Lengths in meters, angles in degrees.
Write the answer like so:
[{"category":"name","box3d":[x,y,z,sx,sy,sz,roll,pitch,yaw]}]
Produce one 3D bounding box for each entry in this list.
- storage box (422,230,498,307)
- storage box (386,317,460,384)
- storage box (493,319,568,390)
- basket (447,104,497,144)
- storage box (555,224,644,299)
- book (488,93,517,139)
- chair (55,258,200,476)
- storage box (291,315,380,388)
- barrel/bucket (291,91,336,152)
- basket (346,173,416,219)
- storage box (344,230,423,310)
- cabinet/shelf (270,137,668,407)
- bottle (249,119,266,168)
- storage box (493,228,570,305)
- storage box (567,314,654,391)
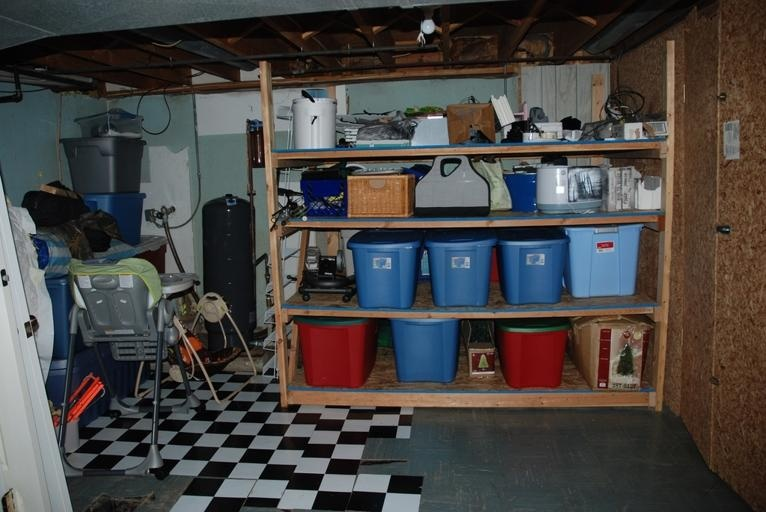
[{"category":"storage box","box3d":[0.656,0.100,5.735,0.733,0.613,0.662,-3,13,-5]},{"category":"storage box","box3d":[0.374,0.996,5.885,0.770,0.597,0.826,0,-33,1]},{"category":"storage box","box3d":[1.293,0.801,5.841,0.684,0.563,0.810,0,9,4]},{"category":"basket","box3d":[0.728,-1.127,5.426,0.388,0.259,0.353,-1,19,3]},{"category":"storage box","box3d":[1.829,0.039,5.616,0.700,0.599,0.623,-1,4,10]},{"category":"book","box3d":[1.031,-1.219,5.628,0.119,0.352,0.295,-4,14,45]},{"category":"chair","box3d":[-2.070,0.797,5.240,0.947,1.591,1.039,-3,8,3]},{"category":"storage box","box3d":[-0.312,0.816,6.031,0.749,0.603,1.016,-1,2,12]},{"category":"barrel/bucket","box3d":[-0.594,-1.145,5.609,0.463,0.476,0.492,-2,15,0]},{"category":"basket","box3d":[-0.033,-0.509,5.429,0.443,0.253,0.427,1,7,9]},{"category":"storage box","box3d":[0.015,0.131,5.463,0.709,0.479,0.622,0,11,4]},{"category":"cabinet/shelf","box3d":[0.795,0.161,5.539,2.546,1.742,0.788,-1,13,1]},{"category":"bottle","box3d":[-1.364,-1.192,6.909,0.168,0.502,0.137,-4,8,-6]},{"category":"storage box","box3d":[1.260,0.133,5.847,0.666,0.541,0.768,-2,1,-8]},{"category":"storage box","box3d":[1.917,0.824,5.482,0.552,0.485,0.687,-1,-3,9]}]
